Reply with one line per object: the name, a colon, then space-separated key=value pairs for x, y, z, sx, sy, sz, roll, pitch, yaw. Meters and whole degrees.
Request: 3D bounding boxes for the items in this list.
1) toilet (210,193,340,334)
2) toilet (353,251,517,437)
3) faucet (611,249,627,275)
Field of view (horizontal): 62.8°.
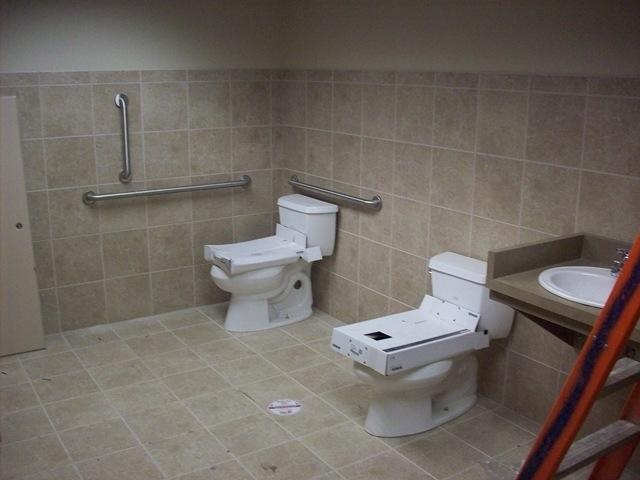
toilet: x=-0.430 y=0.187 z=4.467 sx=1.037 sy=1.009 sz=0.688 roll=-8 pitch=17 yaw=-30
toilet: x=0.628 y=0.650 z=3.272 sx=1.032 sy=0.908 sz=0.588 roll=-7 pitch=11 yaw=-27
faucet: x=1.359 y=0.095 z=2.380 sx=0.062 sy=0.095 sz=0.092 roll=14 pitch=45 yaw=32
